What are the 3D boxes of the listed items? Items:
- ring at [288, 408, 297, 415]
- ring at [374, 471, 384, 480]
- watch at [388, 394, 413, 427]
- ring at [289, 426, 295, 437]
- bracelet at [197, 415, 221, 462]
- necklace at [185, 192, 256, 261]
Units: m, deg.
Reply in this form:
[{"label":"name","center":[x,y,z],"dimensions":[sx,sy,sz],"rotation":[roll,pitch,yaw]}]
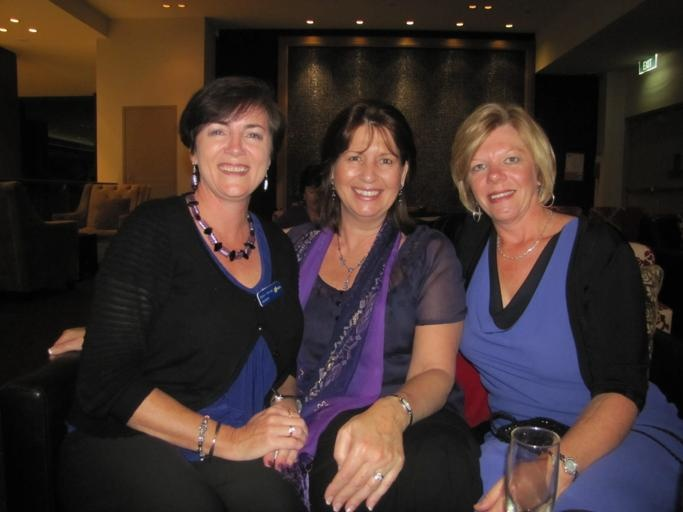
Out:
[{"label":"ring","center":[-0.197,0.617,2.306],"dimensions":[0.018,0.023,0.025],"rotation":[1,-5,2]},{"label":"ring","center":[0.134,0.796,2.105],"dimensions":[0.025,0.025,0.027],"rotation":[6,-6,1]},{"label":"watch","center":[0.233,0.583,2.233],"dimensions":[0.077,0.093,0.047],"rotation":[9,11,44]},{"label":"ring","center":[-0.187,0.660,2.206],"dimensions":[0.019,0.032,0.031],"rotation":[1,-6,2]},{"label":"bracelet","center":[-0.505,0.684,2.185],"dimensions":[0.039,0.141,0.120],"rotation":[17,-24,-30]},{"label":"necklace","center":[-0.518,-0.122,2.439],"dimensions":[0.069,0.309,0.260],"rotation":[-30,-4,40]}]
